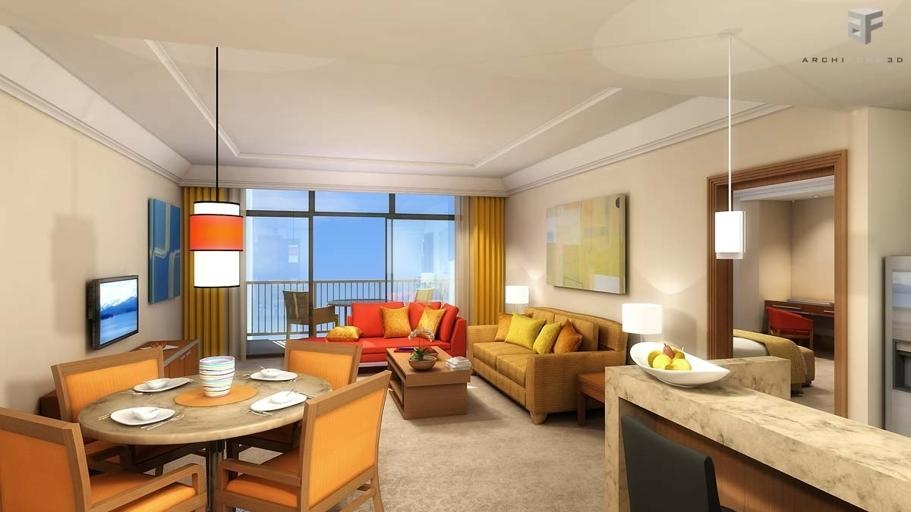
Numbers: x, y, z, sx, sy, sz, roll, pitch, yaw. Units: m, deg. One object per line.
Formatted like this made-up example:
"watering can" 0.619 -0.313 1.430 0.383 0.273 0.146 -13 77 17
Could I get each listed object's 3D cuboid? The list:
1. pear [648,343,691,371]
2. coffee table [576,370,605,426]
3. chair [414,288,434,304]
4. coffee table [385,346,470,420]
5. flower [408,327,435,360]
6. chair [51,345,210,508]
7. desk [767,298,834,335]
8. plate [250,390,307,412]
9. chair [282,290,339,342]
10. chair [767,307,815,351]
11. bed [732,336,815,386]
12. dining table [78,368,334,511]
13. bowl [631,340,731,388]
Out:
"pear" 1.616 0.747 4.247 0.194 0.096 0.228 -1 0 5
"coffee table" 1.546 1.626 6.392 0.315 0.421 0.478 -3 -2 11
"chair" -0.576 0.658 9.823 0.268 0.259 0.247 0 -5 24
"coffee table" -0.339 1.562 6.957 0.808 0.672 0.886 -2 -2 -15
"flower" -0.414 1.105 7.172 0.380 0.317 0.346 0 -6 1
"chair" -2.792 1.440 5.085 1.121 1.060 1.278 5 0 8
"desk" 5.231 1.023 8.777 0.587 0.380 0.878 4 16 21
"plate" -1.443 1.173 4.537 0.188 0.029 0.286 4 2 22
"chair" -2.487 1.012 9.591 0.688 0.749 0.753 -3 -5 25
"chair" 5.197 1.179 8.692 0.584 0.678 0.609 -1 -5 18
"bed" 4.039 1.199 7.091 1.063 0.308 1.105 -1 -2 11
"dining table" -2.097 1.256 4.543 1.471 0.792 1.350 1 3 16
"bowl" 1.718 0.828 4.318 0.707 0.258 0.453 -3 -2 24
